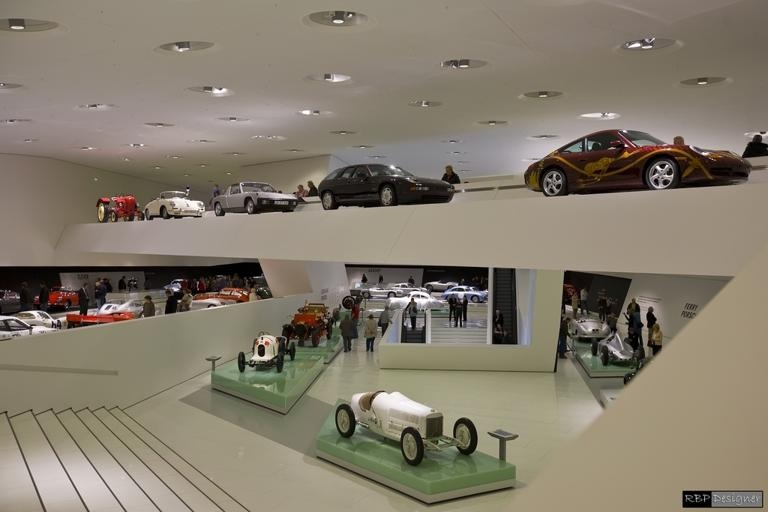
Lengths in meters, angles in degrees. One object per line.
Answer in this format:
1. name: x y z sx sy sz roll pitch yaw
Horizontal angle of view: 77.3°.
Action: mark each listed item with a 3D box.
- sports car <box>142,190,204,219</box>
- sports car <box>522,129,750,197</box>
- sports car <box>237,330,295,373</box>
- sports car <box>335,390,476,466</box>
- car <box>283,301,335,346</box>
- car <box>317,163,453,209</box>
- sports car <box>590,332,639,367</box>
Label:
1. sports car: -9.618 -2.167 21.584 2.703 0.967 1.519 -1 -1 43
2. sports car: 4.993 -1.778 9.826 3.757 1.151 1.976 0 2 43
3. sports car: -3.655 3.107 15.973 1.072 0.887 1.858 -2 -4 6
4. sports car: 0.338 3.532 10.568 1.416 0.907 2.581 2 -2 -35
5. car: -3.213 3.005 20.588 1.162 0.971 2.047 0 3 9
6. car: 0.030 -1.995 14.481 3.543 1.094 1.731 -2 -1 41
7. sports car: 8.080 3.129 16.589 1.137 0.913 2.103 -1 6 12
